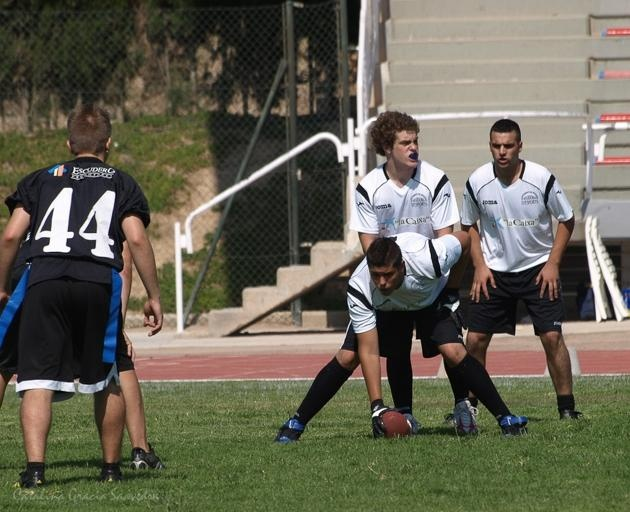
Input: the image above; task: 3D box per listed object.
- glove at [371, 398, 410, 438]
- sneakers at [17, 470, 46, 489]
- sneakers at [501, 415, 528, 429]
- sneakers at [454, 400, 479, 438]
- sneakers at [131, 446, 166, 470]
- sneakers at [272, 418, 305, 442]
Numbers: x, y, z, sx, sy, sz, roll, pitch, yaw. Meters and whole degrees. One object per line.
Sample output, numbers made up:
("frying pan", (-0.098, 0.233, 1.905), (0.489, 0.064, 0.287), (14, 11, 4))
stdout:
("glove", (0.581, 1.291, 10.595), (0.321, 0.330, 0.248), (9, 11, 24))
("sneakers", (-2.084, 1.621, 9.676), (0.195, 0.132, 0.136), (-1, 4, 2))
("sneakers", (1.569, 1.320, 10.541), (0.225, 0.112, 0.088), (-1, -40, 2))
("sneakers", (1.216, 1.310, 10.753), (0.121, 0.349, 0.158), (-11, 33, 12))
("sneakers", (-1.290, 1.557, 10.181), (0.113, 0.141, 0.299), (-1, -3, 22))
("sneakers", (-0.206, 1.420, 10.687), (0.250, 0.144, 0.177), (-39, 17, 18))
